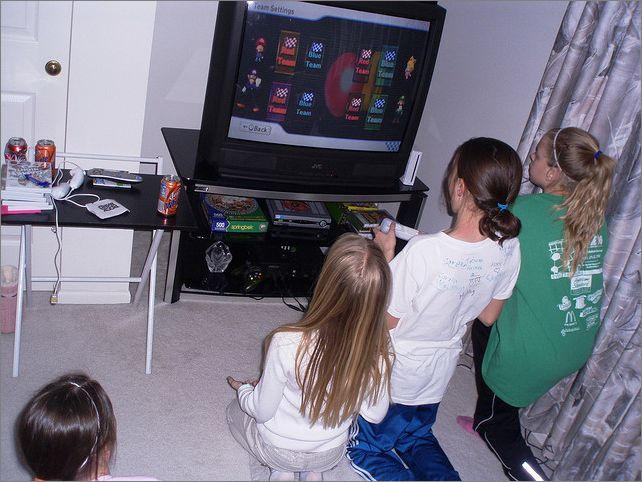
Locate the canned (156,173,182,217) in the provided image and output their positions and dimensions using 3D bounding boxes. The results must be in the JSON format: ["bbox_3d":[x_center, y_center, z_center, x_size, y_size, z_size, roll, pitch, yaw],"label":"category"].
[{"bbox_3d":[-0.768,-0.222,2.371,0.117,0.226,0.121,6,33,-21],"label":"canned"}]

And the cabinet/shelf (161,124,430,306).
[{"bbox_3d":[-0.420,-0.353,3.492,1.902,1.231,1.191,3,36,-23],"label":"cabinet/shelf"}]

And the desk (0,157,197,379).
[{"bbox_3d":[-1.289,0.165,2.648,1.032,0.997,0.783,4,53,-26],"label":"desk"}]

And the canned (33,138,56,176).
[{"bbox_3d":[-1.385,-0.406,2.347,0.095,0.184,0.098,21,20,23],"label":"canned"}]

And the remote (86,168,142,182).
[{"bbox_3d":[-1.100,-0.355,2.516,0.213,0.052,0.116,5,15,-11],"label":"remote"}]
